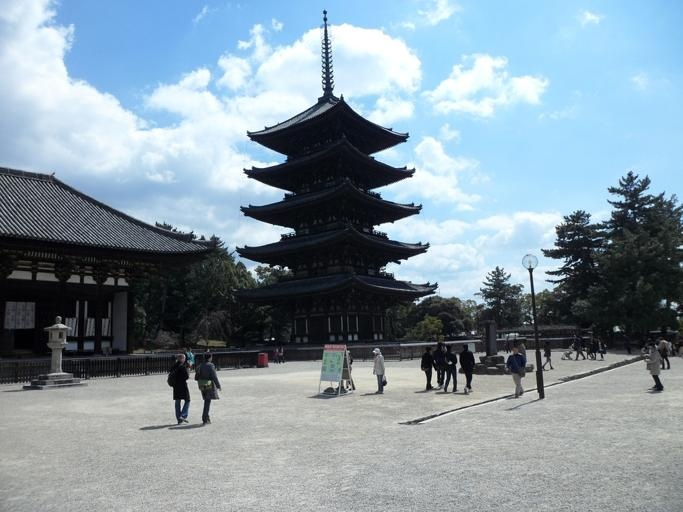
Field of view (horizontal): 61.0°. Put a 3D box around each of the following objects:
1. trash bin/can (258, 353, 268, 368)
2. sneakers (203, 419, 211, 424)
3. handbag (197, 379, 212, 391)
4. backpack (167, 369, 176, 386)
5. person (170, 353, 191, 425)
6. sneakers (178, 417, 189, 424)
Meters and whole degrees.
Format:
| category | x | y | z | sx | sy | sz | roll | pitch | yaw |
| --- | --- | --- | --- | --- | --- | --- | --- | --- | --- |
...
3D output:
| category | x | y | z | sx | sy | sz | roll | pitch | yaw |
| --- | --- | --- | --- | --- | --- | --- | --- | --- | --- |
| trash bin/can | -5.331 | 7.088 | 39.165 | 0.788 | 1.125 | 0.775 | -1 | 8 | 3 |
| sneakers | -4.034 | 4.986 | 17.443 | 0.195 | 0.157 | 0.284 | 0 | -10 | -13 |
| handbag | -4.085 | 3.893 | 17.399 | 0.431 | 0.301 | 0.186 | 0 | -9 | -13 |
| backpack | -5.160 | 3.705 | 17.595 | 0.170 | 0.507 | 0.700 | 1 | -10 | -18 |
| person | -4.966 | 4.067 | 17.661 | 0.564 | 2.068 | 1.025 | 0 | -9 | -16 |
| sneakers | -4.773 | 4.993 | 17.436 | 0.150 | 0.114 | 0.359 | -9 | -19 | 34 |
